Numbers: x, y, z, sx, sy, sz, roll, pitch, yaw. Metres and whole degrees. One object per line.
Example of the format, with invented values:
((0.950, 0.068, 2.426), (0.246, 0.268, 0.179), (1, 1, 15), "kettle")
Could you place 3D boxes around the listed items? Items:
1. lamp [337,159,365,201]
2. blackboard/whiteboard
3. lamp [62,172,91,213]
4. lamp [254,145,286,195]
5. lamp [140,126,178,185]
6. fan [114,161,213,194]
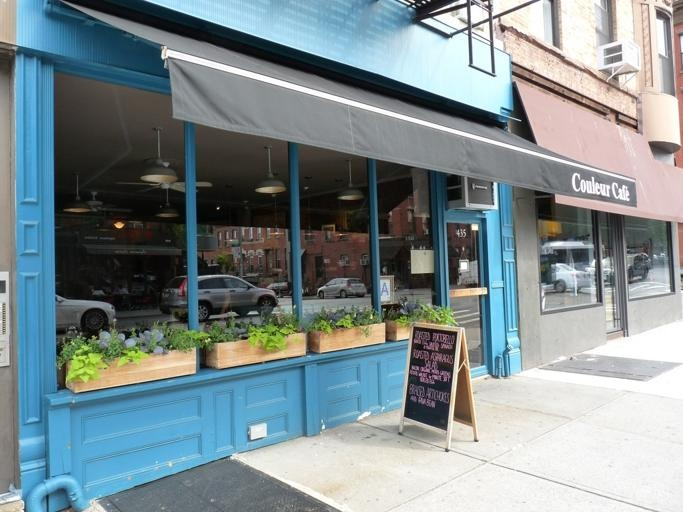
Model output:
((0.129, -1.165, 8.212), (0.320, 0.558, 0.320), (-4, -2, 12), "lamp")
((1.148, 1.476, 6.743), (0.491, 1.243, 0.742), (-2, 4, -45), "blackboard/whiteboard")
((-3.501, -0.886, 7.357), (0.315, 0.536, 0.316), (-1, -1, -1), "lamp")
((-1.054, -1.315, 8.146), (0.362, 0.614, 0.357), (-9, 6, -40), "lamp")
((-2.627, -1.291, 8.037), (0.561, 0.984, 0.647), (4, 1, -41), "lamp")
((-2.659, -1.223, 8.067), (1.219, 0.424, 1.395), (8, 7, -40), "fan")
